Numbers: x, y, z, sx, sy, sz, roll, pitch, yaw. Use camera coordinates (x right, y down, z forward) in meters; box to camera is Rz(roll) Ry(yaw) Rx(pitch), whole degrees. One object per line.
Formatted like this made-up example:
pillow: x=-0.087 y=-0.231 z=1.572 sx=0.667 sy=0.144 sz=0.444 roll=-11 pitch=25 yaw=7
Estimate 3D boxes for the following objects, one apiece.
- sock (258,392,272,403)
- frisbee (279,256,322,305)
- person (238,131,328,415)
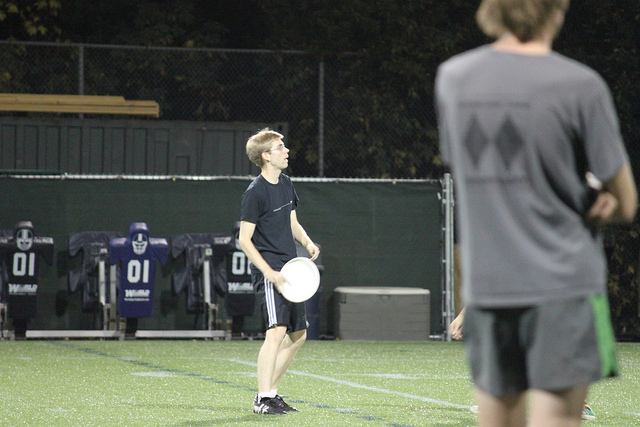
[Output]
sock: x=-0.761 y=2.451 z=19.915 sx=0.108 sy=0.154 sz=0.151 roll=1 pitch=3 yaw=-3
frisbee: x=-0.300 y=0.890 z=19.974 sx=0.518 sy=0.634 sz=0.252 roll=0 pitch=-2 yaw=-4
person: x=-0.580 y=0.778 z=20.121 sx=1.026 sy=3.842 sz=0.634 roll=0 pitch=-2 yaw=-5
